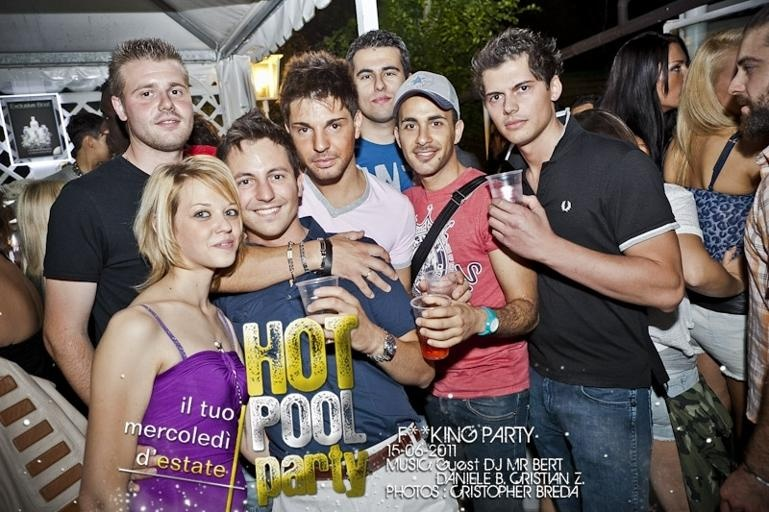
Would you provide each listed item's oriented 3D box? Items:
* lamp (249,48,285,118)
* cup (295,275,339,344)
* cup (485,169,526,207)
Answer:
[{"bbox_3d":[-2.063,-2.741,8.450,0.594,0.829,0.635,5,18,24],"label":"lamp"},{"bbox_3d":[-0.408,0.324,3.025,0.290,0.308,0.303,-11,5,1],"label":"cup"},{"bbox_3d":[0.792,-0.430,3.366,0.208,0.165,0.220,-5,3,0],"label":"cup"}]
